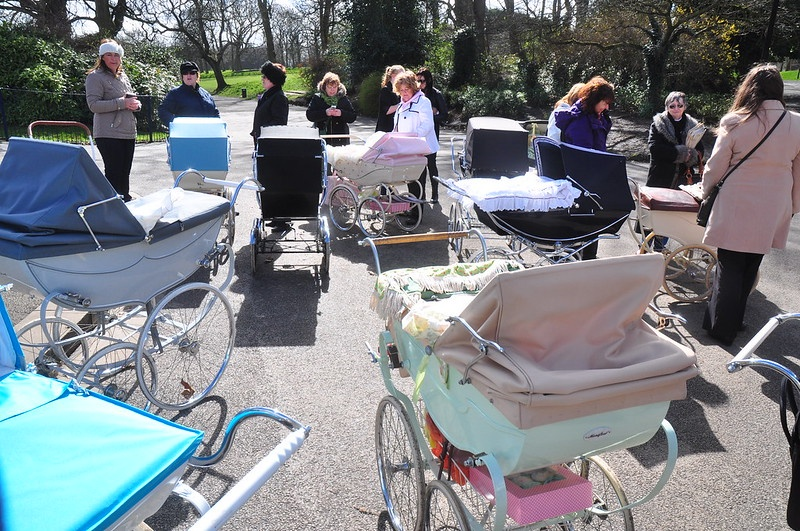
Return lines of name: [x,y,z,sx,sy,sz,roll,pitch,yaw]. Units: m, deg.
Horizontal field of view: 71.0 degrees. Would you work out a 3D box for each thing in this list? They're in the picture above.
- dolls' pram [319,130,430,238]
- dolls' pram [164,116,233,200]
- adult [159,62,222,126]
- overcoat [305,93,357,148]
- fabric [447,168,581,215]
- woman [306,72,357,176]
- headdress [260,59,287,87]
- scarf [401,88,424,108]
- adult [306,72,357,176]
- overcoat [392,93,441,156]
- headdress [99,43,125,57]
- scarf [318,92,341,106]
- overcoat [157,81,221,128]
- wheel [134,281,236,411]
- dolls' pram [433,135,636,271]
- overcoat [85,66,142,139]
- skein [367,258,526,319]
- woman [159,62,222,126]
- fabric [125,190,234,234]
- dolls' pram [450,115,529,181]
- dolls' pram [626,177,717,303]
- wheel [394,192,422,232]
dolls' pram: [-0.418,-1.296,8.764,1.679,1.511,1.021,15,21,40]
dolls' pram: [-2.824,-1.409,7.998,0.740,1.215,1.267,-4,22,-16]
adult: [-3.208,-2.645,8.644,0.547,0.916,1.033,16,25,32]
overcoat: [-1.236,-2.624,9.996,0.732,0.922,0.489,-3,33,-13]
fabric: [1.012,-0.819,5.869,0.658,0.208,0.762,-5,29,-2]
woman: [-1.247,-2.638,10.029,0.747,1.600,0.560,-2,42,-9]
headdress: [-1.992,-3.002,8.696,0.348,0.371,0.442,-6,0,29]
scarf: [0.181,-2.555,8.677,0.306,0.164,0.303,-4,2,-41]
adult: [-1.217,-2.611,10.017,0.737,1.586,0.607,-1,38,-7]
overcoat: [0.138,-2.337,8.874,0.959,0.899,0.728,16,23,39]
headdress: [-3.928,-2.957,7.579,0.250,0.125,0.254,25,25,39]
scarf: [-1.278,-2.889,9.738,0.372,0.237,0.332,4,20,10]
overcoat: [-3.198,-2.507,8.689,0.466,0.720,0.986,1,15,37]
wheel: [-1.744,0.667,4.687,0.129,1.084,1.092,10,5,21]
dolls' pram: [1.309,-0.722,6.152,1.789,1.388,1.237,2,12,-5]
overcoat: [-4.021,-2.242,7.821,0.564,0.960,0.609,-10,22,-26]
skein: [0.244,0.116,3.837,0.744,0.208,0.495,-6,18,-10]
woman: [-3.216,-2.648,8.639,0.551,0.931,1.052,17,26,26]
fabric: [-1.907,-0.495,4.671,0.551,0.101,0.557,27,35,33]
dolls' pram: [1.431,-1.765,8.575,0.993,0.594,0.993,3,8,10]
dolls' pram: [3.143,-0.232,6.642,1.008,1.260,0.750,2,4,4]
wheel: [0.136,-0.860,8.821,0.598,0.573,0.409,6,13,5]
